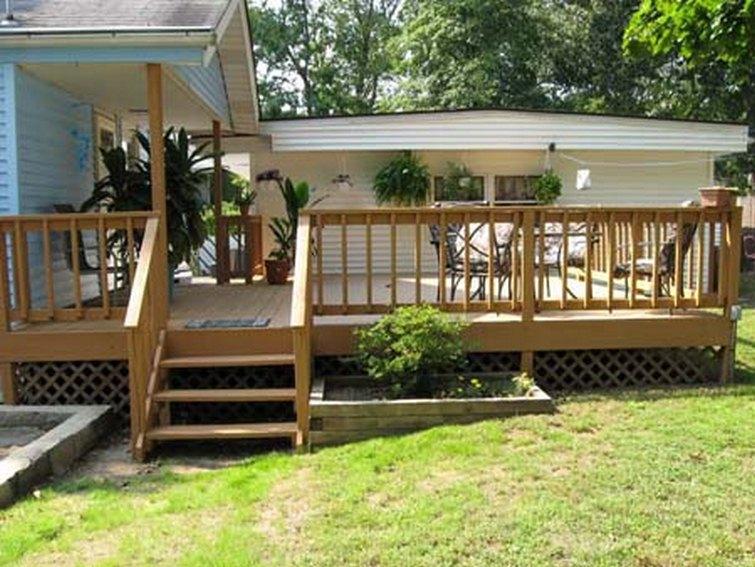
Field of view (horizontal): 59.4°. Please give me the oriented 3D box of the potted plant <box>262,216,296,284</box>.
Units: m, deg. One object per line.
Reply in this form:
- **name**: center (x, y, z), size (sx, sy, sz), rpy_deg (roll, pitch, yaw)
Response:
- **potted plant**: center (-1.706, -0.621, 11.538), size (0.499, 1.155, 2.694), rpy_deg (-1, 4, -10)

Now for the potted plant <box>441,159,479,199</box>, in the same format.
- **potted plant**: center (1.618, -2.006, 13.008), size (0.698, 0.722, 0.393), rpy_deg (0, 4, 7)

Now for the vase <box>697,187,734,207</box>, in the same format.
- **vase**: center (3.783, -0.950, 7.344), size (0.308, 0.235, 0.394), rpy_deg (6, -3, -32)

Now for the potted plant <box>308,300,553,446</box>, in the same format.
- **potted plant**: center (0.404, 0.827, 6.515), size (2.141, 1.243, 0.875), rpy_deg (-1, 4, -3)

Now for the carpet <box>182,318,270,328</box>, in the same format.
- **carpet**: center (-1.627, 0.421, 7.185), size (0.922, 0.027, 0.581), rpy_deg (0, 4, 6)

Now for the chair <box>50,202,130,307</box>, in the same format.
- **chair**: center (-3.697, -0.395, 8.613), size (0.843, 1.289, 3.297), rpy_deg (-2, 4, -21)
